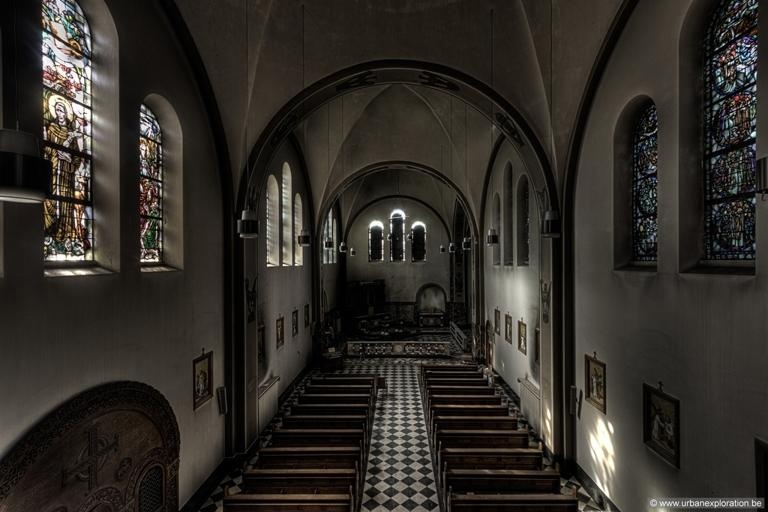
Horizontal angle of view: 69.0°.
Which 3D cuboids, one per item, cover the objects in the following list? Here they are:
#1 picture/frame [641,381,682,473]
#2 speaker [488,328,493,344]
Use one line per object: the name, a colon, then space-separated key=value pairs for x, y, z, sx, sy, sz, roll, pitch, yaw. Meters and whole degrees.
picture/frame: x=5.483 y=3.318 z=11.046 sx=0.133 sy=1.730 sz=0.908 roll=-1 pitch=0 yaw=-16
speaker: x=4.271 y=3.164 z=22.226 sx=0.111 sy=0.371 sz=0.252 roll=0 pitch=0 yaw=-16
